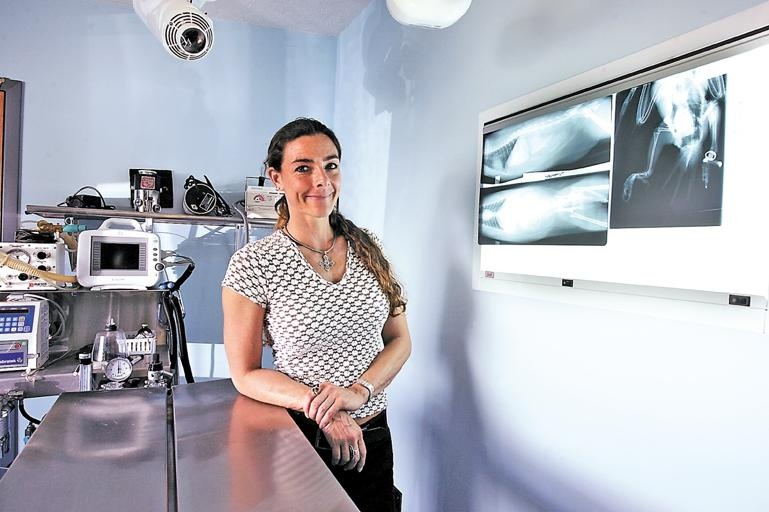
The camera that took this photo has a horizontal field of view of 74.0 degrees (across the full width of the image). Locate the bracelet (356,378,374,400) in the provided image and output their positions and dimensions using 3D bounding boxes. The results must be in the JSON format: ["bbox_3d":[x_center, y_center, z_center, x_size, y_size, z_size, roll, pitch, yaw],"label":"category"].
[{"bbox_3d":[-0.063,0.479,1.865,0.072,0.074,0.049,3,17,23],"label":"bracelet"}]

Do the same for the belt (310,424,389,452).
[{"bbox_3d":[-0.131,0.627,1.759,0.131,0.039,0.130,-48,-30,23],"label":"belt"}]

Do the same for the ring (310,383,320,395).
[{"bbox_3d":[-0.237,0.467,1.776,0.042,0.040,0.036,-2,4,-19],"label":"ring"}]
